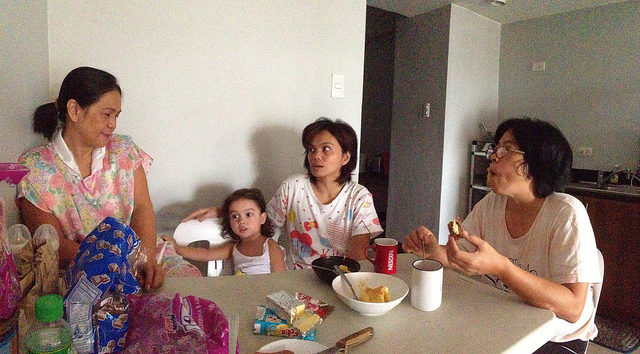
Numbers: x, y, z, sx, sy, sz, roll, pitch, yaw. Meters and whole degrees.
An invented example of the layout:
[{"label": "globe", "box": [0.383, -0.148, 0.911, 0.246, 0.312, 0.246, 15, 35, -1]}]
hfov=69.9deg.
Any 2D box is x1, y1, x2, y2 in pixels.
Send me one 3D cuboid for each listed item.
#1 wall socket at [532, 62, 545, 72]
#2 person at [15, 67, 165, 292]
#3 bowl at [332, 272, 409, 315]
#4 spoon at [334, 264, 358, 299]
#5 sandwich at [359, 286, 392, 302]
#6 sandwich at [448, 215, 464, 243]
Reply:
[{"label": "wall socket", "box": [2.345, -1.180, 4.904, 0.111, 0.084, 0.027, 4, 14, 24]}, {"label": "person", "box": [-1.501, -0.118, 2.848, 0.806, 1.100, 0.352, -5, 13, -13]}, {"label": "bowl", "box": [0.264, 0.622, 2.436, 0.394, 0.164, 0.247, 1, 12, 13]}, {"label": "spoon", "box": [0.121, 0.554, 2.498, 0.054, 0.255, 0.037, -38, -35, 11]}, {"label": "sandwich", "box": [0.286, 0.605, 2.383, 0.111, 0.040, 0.099, 4, 12, 26]}, {"label": "sandwich", "box": [0.752, 0.282, 2.500, 0.104, 0.118, 0.035, -23, 7, 1]}]
